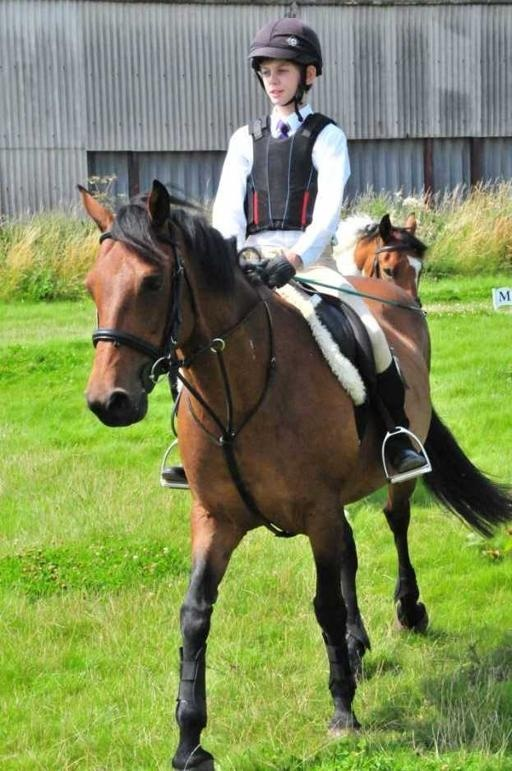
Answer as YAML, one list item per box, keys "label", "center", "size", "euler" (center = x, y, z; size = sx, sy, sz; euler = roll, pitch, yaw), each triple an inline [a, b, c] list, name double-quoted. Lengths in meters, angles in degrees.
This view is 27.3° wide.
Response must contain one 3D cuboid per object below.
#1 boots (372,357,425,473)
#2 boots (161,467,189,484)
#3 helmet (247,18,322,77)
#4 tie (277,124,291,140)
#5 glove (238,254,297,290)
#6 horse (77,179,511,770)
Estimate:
- label: "boots"
  center: [0.717, 0.182, 5.348]
  size: [0.192, 0.628, 0.187]
  euler: [-14, -14, 15]
- label: "boots"
  center: [-0.387, 0.449, 5.146]
  size: [0.129, 0.069, 0.210]
  euler: [0, -1, -2]
- label: "helmet"
  center: [0.159, -1.663, 5.239]
  size: [0.271, 0.189, 0.376]
  euler: [6, 5, 32]
- label: "tie"
  center: [0.148, -1.281, 5.334]
  size: [0.064, 0.083, 0.084]
  euler: [-1, -15, -7]
- label: "glove"
  center: [0.058, -0.514, 4.710]
  size: [0.198, 0.071, 0.145]
  euler: [22, 27, -11]
- label: "horse"
  center: [0.190, 0.327, 5.171]
  size: [1.120, 2.617, 2.919]
  euler: [11, 16, 24]
